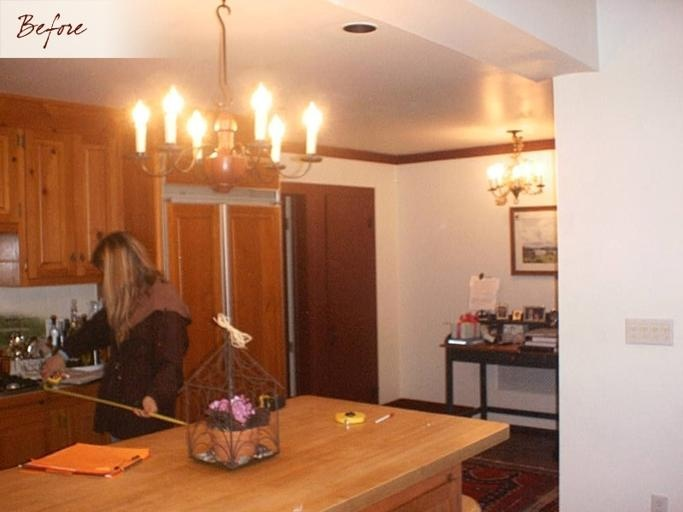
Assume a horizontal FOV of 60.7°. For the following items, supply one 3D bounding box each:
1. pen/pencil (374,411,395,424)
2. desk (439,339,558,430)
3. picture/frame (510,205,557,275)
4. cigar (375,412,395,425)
[{"bbox_3d":[0.196,0.747,2.717,0.025,0.027,0.180,-5,-2,35],"label":"pen/pencil"},{"bbox_3d":[1.508,1.183,5.419,0.980,0.715,0.473,-1,-3,34],"label":"desk"},{"bbox_3d":[1.947,-0.161,5.882,0.698,0.802,0.038,0,1,28],"label":"picture/frame"},{"bbox_3d":[0.195,0.754,2.712,0.025,0.027,0.180,-5,-2,35],"label":"cigar"}]
